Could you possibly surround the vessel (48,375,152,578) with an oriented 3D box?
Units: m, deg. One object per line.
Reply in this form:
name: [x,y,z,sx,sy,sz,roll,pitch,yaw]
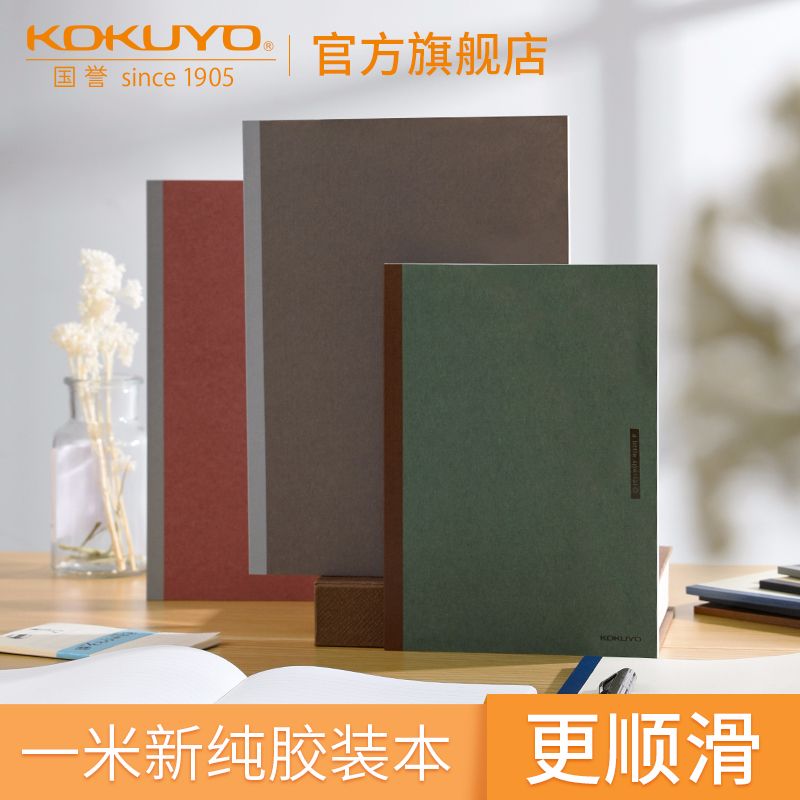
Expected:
vessel: [-0.342,0.083,1.010,0.098,0.215,0.107,0,2,-23]
